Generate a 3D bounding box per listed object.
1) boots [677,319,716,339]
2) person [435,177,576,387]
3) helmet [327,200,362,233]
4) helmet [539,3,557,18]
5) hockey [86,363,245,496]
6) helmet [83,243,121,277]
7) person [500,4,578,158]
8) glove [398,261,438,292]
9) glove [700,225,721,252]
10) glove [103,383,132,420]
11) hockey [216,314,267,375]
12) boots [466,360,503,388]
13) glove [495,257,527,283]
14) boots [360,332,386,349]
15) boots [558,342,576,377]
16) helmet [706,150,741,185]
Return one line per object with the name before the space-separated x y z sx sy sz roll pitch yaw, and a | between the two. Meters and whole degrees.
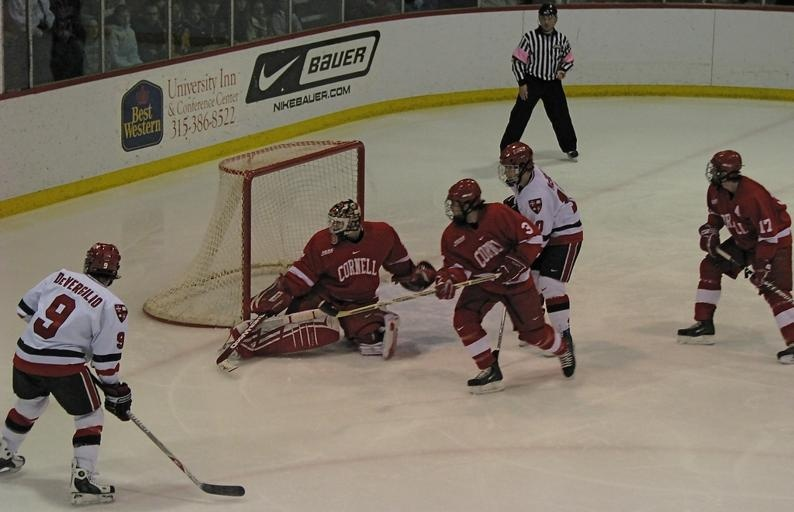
boots | 2.404 0.599 7.713 0.300 0.174 0.134 4 -1 16
person | 0.770 0.215 7.160 0.964 1.572 0.334 -3 8 1
helmet | -0.405 -0.298 7.359 0.278 0.232 0.226 0 12 -10
helmet | 1.755 -2.871 11.241 0.184 0.163 0.289 -2 7 7
hockey | -1.622 1.250 6.681 1.516 0.216 0.177 35 20 31
helmet | -1.928 0.032 6.353 0.209 0.238 0.245 5 20 -19
person | 1.681 -2.027 11.283 0.965 1.832 0.483 -3 8 -5
glove | 0.185 0.166 7.609 0.295 0.130 0.206 0 36 18
glove | 2.523 -0.121 7.740 0.177 0.211 0.115 1 17 9
glove | -1.830 0.946 6.310 0.166 0.243 0.109 1 3 -3
hockey | -1.183 0.715 7.547 0.163 0.428 0.283 42 -14 -28
boots | 0.595 0.894 7.186 0.369 0.233 0.123 -2 8 -9
glove | 0.823 0.098 7.053 0.201 0.195 0.083 36 18 -28
boots | -0.191 0.683 7.609 0.165 0.073 0.112 -1 8 7
boots | 1.291 0.793 7.309 0.110 0.272 0.121 1 4 24
helmet | 2.507 -0.681 7.510 0.301 0.264 0.232 11 3 19
